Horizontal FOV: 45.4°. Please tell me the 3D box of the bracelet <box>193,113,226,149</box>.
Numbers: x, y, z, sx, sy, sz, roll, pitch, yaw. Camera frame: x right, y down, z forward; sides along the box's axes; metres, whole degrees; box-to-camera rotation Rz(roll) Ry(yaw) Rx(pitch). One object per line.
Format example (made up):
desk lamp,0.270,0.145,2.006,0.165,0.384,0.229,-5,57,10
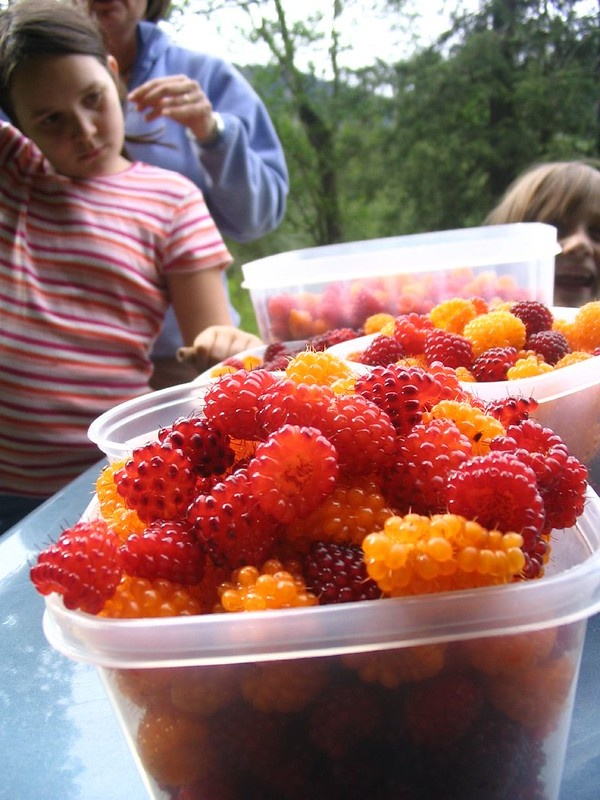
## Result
bracelet,-0.193,-0.581,1.577,0.080,0.028,0.070,-13,58,28
